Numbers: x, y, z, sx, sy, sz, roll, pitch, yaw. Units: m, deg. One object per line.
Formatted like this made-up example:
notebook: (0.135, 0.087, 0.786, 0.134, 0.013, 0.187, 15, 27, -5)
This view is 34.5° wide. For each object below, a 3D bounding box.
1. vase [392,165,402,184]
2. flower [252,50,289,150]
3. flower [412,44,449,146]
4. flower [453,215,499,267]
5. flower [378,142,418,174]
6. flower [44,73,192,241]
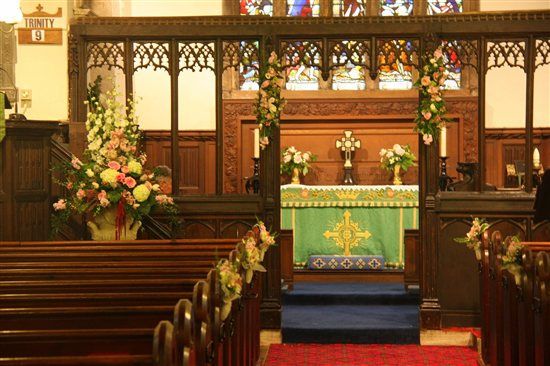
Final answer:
vase: (2.139, -0.161, 15.556, 0.181, 0.346, 0.681, 0, 3, 8)
flower: (-0.082, -1.179, 12.573, 0.427, 1.386, 0.268, 0, 2, -2)
flower: (2.180, -1.238, 12.470, 0.435, 1.392, 0.336, 0, 2, 8)
flower: (2.644, 0.656, 11.722, 0.350, 0.243, 0.398, -12, 15, 46)
flower: (2.164, -0.462, 15.551, 0.552, 0.465, 0.647, 7, 24, 38)
flower: (-2.188, -0.268, 12.157, 1.607, 2.123, 0.867, 0, 2, -8)
